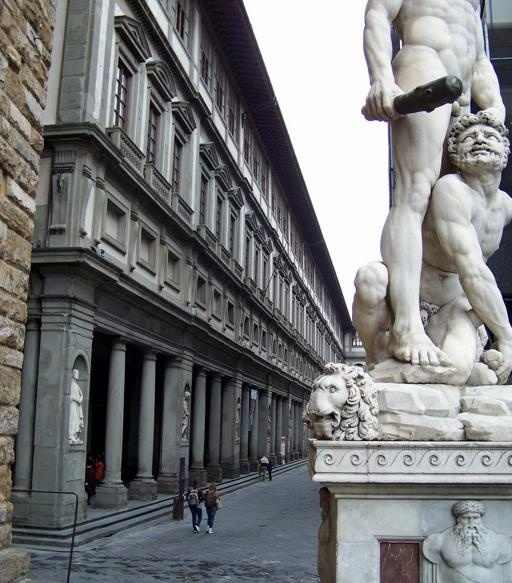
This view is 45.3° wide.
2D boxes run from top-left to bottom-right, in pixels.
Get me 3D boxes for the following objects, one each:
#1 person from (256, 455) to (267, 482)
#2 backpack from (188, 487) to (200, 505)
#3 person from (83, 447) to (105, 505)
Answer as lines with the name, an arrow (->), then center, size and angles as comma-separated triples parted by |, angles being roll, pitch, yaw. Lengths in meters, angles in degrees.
person -> 0.378, 9.201, 32.096 | 0.477, 1.168, 1.707 | 2, -10, 1
backpack -> -1.589, 5.174, 15.409 | 0.227, 0.448, 0.433 | 2, -43, 2
person -> -4.803, 5.564, 18.271 | 0.496, 1.047, 2.263 | 5, -11, -15
